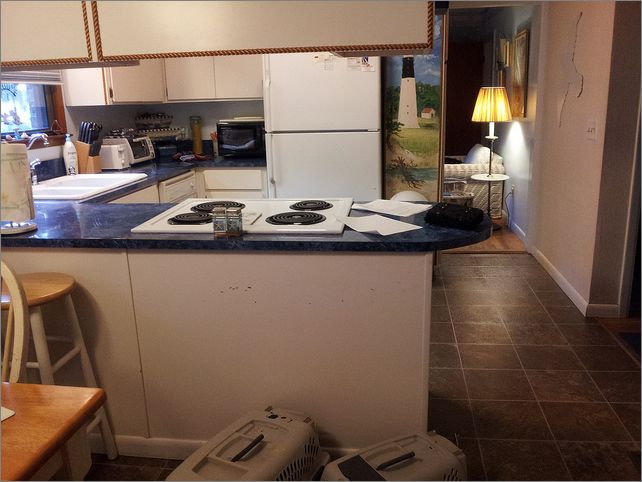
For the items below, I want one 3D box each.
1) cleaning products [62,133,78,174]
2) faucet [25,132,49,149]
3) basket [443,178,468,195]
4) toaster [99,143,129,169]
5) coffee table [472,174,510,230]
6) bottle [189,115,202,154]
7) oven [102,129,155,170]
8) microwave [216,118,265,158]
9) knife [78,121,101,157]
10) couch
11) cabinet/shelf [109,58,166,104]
[{"bbox_3d":[-2.061,-0.704,3.902,0.116,0.318,0.214,-12,19,-24],"label":"cleaning products"},{"bbox_3d":[-2.155,-0.754,3.619,0.151,0.116,0.368,-12,18,-28],"label":"faucet"},{"bbox_3d":[1.677,-0.682,5.997,0.375,0.227,0.306,1,9,24],"label":"basket"},{"bbox_3d":[-1.805,-0.734,4.231,0.211,0.209,0.302,-2,23,-8],"label":"toaster"},{"bbox_3d":[2.071,-0.497,5.916,0.439,0.678,0.700,3,18,20],"label":"coffee table"},{"bbox_3d":[-1.368,-1.166,5.242,0.126,0.404,0.224,-8,18,-13],"label":"bottle"},{"bbox_3d":[-1.810,-0.848,4.457,0.289,0.279,0.565,5,20,15],"label":"oven"},{"bbox_3d":[-0.796,-1.011,4.920,0.651,0.394,0.369,1,15,4],"label":"microwave"},{"bbox_3d":[-1.941,-0.849,4.001,0.170,0.267,0.161,-15,21,-33],"label":"knife"},{"bbox_3d":[2.047,-0.957,6.299,0.917,0.981,1.503,1,18,9],"label":"couch"},{"bbox_3d":[-1.663,-1.467,4.365,0.152,0.407,0.854,-1,16,7],"label":"cabinet/shelf"}]
